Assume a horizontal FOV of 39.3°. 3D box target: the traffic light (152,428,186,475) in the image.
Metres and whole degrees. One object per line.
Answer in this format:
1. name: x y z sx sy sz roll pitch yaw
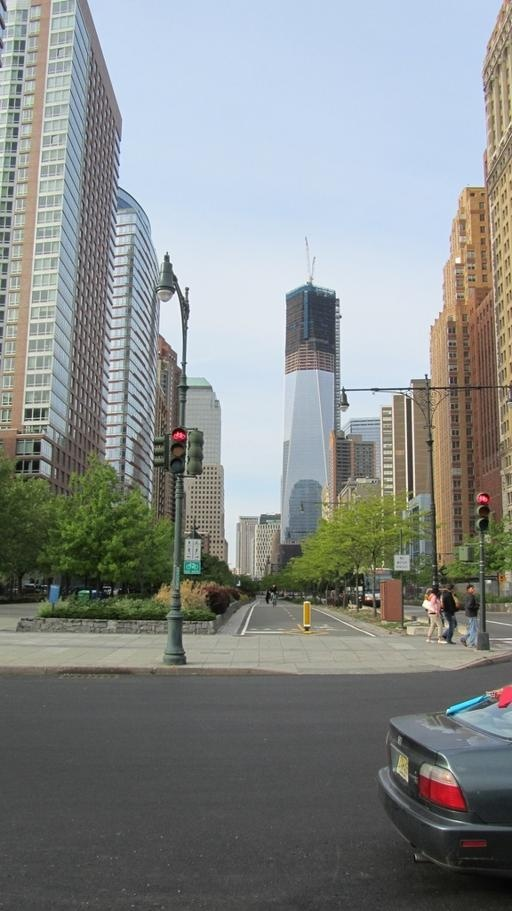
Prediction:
1. traffic light: -1.769 -0.107 14.694 0.648 0.851 1.330 1 -9 -9
